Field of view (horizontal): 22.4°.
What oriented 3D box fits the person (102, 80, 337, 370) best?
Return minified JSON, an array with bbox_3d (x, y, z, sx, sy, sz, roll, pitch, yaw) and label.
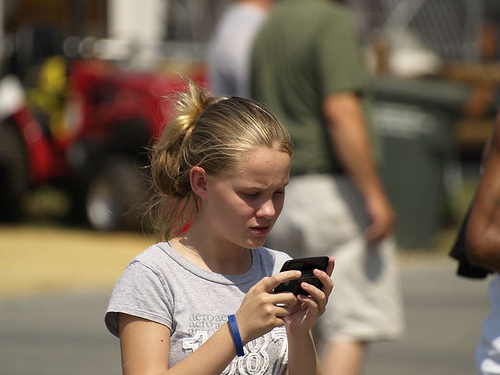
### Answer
[{"bbox_3d":[-0.206,0.325,8.204,1.368,1.802,0.851,-1,12,3],"label":"person"}]
